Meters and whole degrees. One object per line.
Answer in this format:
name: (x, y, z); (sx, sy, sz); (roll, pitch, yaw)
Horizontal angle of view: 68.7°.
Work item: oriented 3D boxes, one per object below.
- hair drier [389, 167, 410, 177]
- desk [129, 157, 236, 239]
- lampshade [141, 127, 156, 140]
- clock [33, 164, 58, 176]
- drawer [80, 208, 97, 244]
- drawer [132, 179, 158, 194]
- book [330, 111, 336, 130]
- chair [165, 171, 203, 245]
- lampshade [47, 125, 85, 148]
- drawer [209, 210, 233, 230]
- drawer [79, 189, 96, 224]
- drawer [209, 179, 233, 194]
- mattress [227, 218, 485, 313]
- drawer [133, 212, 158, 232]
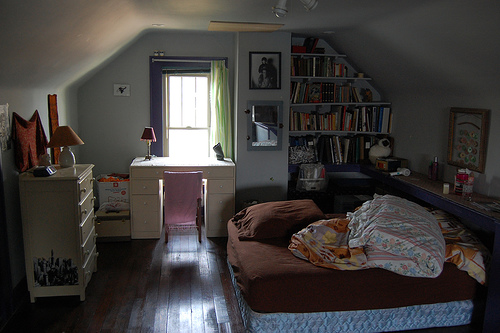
hair drier: (1.937, 0.079, 4.745); (0.248, 0.084, 0.151); (0, 9, 21)
desk: (-0.937, 0.479, 5.061); (1.646, 1.020, 0.880); (2, 9, -12)
lampshade: (-1.455, -0.474, 5.279); (0.173, 0.145, 0.172); (-1, 10, -17)
clock: (-2.091, 0.033, 3.743); (0.194, 0.100, 0.286); (-7, 9, -22)
drawer: (-1.748, 0.639, 3.944); (0.071, 0.218, 0.312); (2, 6, -6)
drawer: (-1.420, 0.277, 4.927); (0.311, 0.188, 0.188); (-1, 2, -11)
book: (1.246, -0.667, 5.473); (0.059, 0.191, 0.141); (-1, 7, 5)
chair: (-0.856, 0.555, 4.795); (0.498, 1.029, 0.246); (-5, 8, -15)
lampshade: (-2.045, -0.324, 4.083); (0.395, 0.250, 0.388); (-14, 9, -42)
drawer: (-0.418, 0.769, 5.251); (0.392, 0.366, 0.219); (1, 1, -5)
drawer: (-1.753, 0.414, 3.934); (0.056, 0.214, 0.246); (10, 18, -10)
drawer: (-0.396, 0.285, 5.101); (0.319, 0.193, 0.192); (-1, 3, -10)
mattress: (0.783, 1.159, 4.248); (2.570, 0.498, 2.501); (0, 0, -33)
drawer: (-1.403, 0.758, 5.098); (0.421, 0.336, 0.246); (-2, -1, 6)
